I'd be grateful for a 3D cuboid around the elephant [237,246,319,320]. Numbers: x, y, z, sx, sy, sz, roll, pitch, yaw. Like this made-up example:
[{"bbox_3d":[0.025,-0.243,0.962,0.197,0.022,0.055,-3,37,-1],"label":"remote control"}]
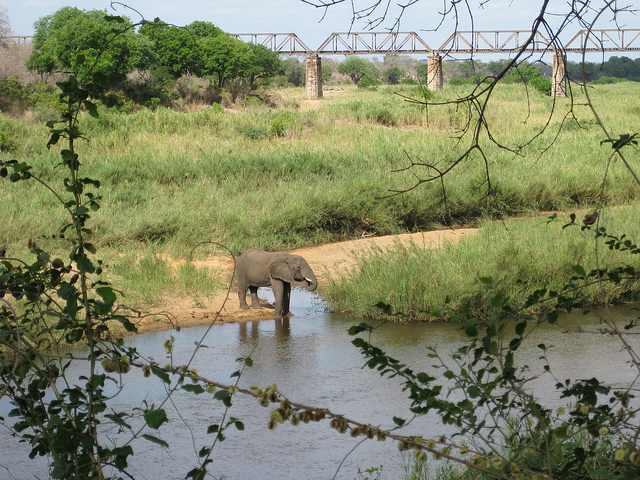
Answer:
[{"bbox_3d":[-0.883,0.795,20.812,1.506,1.105,0.756,7,15,29],"label":"elephant"}]
